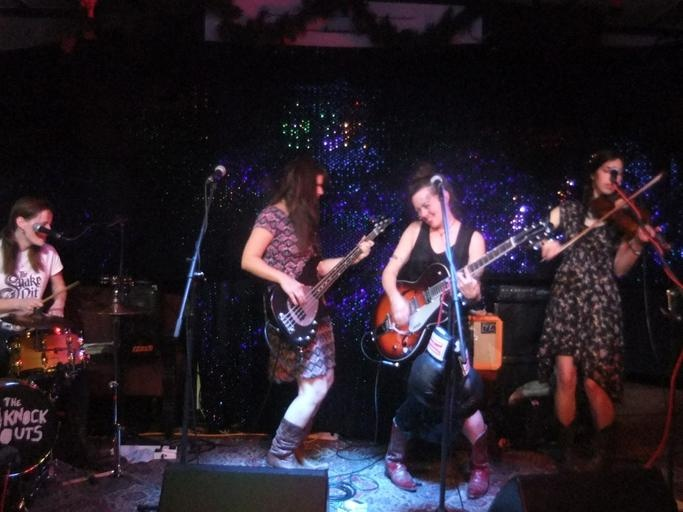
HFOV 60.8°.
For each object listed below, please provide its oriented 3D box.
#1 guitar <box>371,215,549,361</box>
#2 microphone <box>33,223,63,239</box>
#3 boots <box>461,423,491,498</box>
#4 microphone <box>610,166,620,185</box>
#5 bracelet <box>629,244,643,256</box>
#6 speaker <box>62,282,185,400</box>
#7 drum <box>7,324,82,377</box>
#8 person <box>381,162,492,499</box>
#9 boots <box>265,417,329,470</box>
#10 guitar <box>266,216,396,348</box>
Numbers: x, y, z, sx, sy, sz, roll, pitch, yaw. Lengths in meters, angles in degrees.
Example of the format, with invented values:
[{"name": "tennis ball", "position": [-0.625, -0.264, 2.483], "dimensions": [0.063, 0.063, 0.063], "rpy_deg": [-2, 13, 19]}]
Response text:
[{"name": "guitar", "position": [0.690, 0.294, 4.230], "dimensions": [1.682, 0.682, 0.232], "rpy_deg": [-42, -25, 22]}, {"name": "microphone", "position": [-2.402, -0.206, 4.735], "dimensions": [0.095, 0.095, 0.333], "rpy_deg": [50, -18, -27]}, {"name": "boots", "position": [0.997, 1.532, 4.242], "dimensions": [0.195, 0.389, 0.545], "rpy_deg": [-8, -9, 19]}, {"name": "microphone", "position": [2.103, -0.617, 4.458], "dimensions": [0.068, 0.128, 0.029], "rpy_deg": [2, -4, -1]}, {"name": "bracelet", "position": [2.213, -0.041, 4.362], "dimensions": [0.069, 0.018, 0.069], "rpy_deg": [24, -39, 11]}, {"name": "speaker", "position": [-1.944, 0.795, 5.240], "dimensions": [1.173, 1.247, 0.900], "rpy_deg": [0, -2, -3]}, {"name": "drum", "position": [-2.150, 0.668, 4.249], "dimensions": [0.385, 0.197, 0.359], "rpy_deg": [1, -5, 0]}, {"name": "person", "position": [0.701, 0.511, 4.302], "dimensions": [0.841, 2.311, 0.642], "rpy_deg": [2, 0, 18]}, {"name": "boots", "position": [-0.355, 1.387, 4.306], "dimensions": [0.256, 0.383, 0.335], "rpy_deg": [2, -1, 36]}, {"name": "guitar", "position": [-0.079, 0.241, 4.472], "dimensions": [0.394, 1.078, 0.138], "rpy_deg": [52, -30, -20]}]
